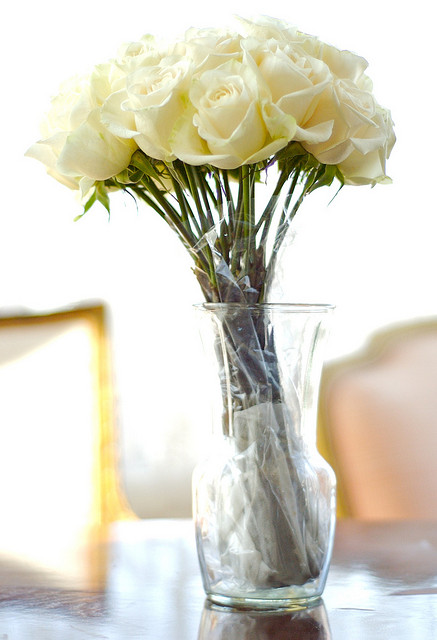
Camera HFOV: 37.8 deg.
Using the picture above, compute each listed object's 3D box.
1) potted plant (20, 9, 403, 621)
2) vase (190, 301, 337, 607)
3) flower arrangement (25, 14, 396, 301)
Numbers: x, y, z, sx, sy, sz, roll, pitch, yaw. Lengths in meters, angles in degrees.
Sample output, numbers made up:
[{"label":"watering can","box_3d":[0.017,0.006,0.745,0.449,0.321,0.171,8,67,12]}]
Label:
[{"label":"potted plant","box_3d":[0.008,-0.031,0.496,0.226,0.358,0.220,3,14,25]},{"label":"vase","box_3d":[0.032,0.089,0.430,0.100,0.201,0.058,-2,-6,-3]},{"label":"flower arrangement","box_3d":[0.007,-0.064,0.469,0.228,0.241,0.203,-3,1,39]}]
